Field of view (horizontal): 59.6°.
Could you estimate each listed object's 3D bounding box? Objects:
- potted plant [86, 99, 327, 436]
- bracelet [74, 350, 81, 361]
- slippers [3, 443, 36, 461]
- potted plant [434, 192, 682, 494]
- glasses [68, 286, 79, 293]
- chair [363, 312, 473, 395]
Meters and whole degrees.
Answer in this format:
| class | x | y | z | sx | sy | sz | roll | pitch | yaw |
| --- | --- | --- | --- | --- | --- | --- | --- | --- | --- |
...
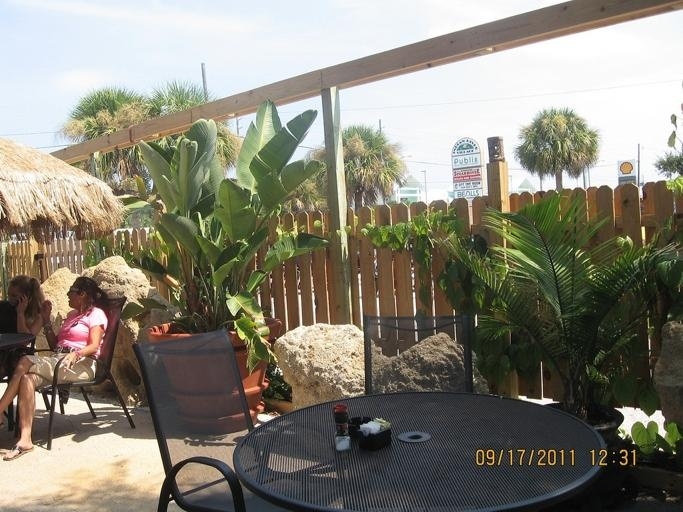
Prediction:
| class | x | y | z | sx | sy | sz | roll | pitch | yaw |
| --- | --- | --- | --- | --- | --- | --- | --- | --- | --- |
| potted plant | -0.836 | 0.044 | 6.929 | 2.417 | 3.844 | 2.565 | -2 | -5 | 38 |
| bracelet | -2.427 | 0.921 | 5.468 | 0.066 | 0.104 | 0.072 | -9 | 9 | -27 |
| slippers | -2.763 | 1.662 | 5.081 | 0.104 | 0.069 | 0.190 | -6 | -7 | 21 |
| potted plant | 1.674 | 0.733 | 4.799 | 1.725 | 2.082 | 1.859 | -4 | -10 | 13 |
| glasses | -2.582 | 0.326 | 5.763 | 0.073 | 0.044 | 0.058 | -9 | -11 | 44 |
| chair | 0.502 | 0.655 | 4.056 | 0.749 | 0.517 | 0.320 | -3 | 8 | 16 |
